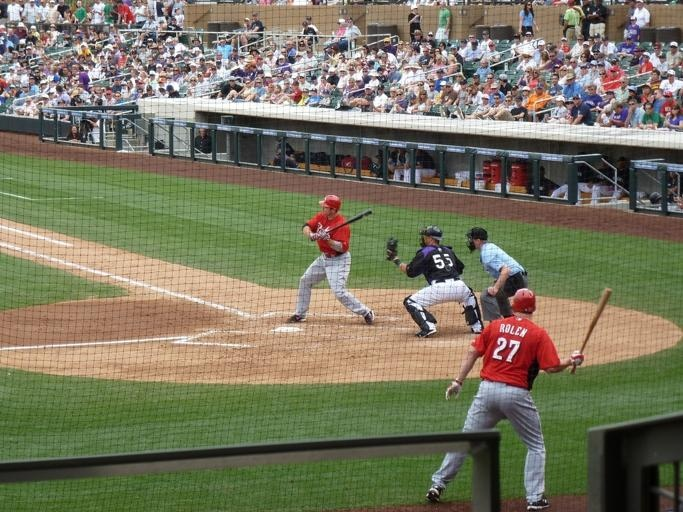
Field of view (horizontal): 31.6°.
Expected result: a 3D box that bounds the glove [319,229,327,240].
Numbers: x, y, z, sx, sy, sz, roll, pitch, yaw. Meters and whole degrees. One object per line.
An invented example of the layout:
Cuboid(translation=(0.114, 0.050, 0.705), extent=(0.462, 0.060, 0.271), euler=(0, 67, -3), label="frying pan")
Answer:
Cuboid(translation=(-0.251, -0.313, 16.986), extent=(0.114, 0.140, 0.056), euler=(-1, 5, -12), label="glove")

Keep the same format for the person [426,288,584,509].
Cuboid(translation=(1.798, 1.502, 12.597), extent=(1.097, 2.312, 0.474), euler=(1, 5, 9), label="person")

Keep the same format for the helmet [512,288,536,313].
Cuboid(translation=(1.912, 0.451, 12.673), extent=(0.213, 0.230, 0.261), euler=(4, 9, 8), label="helmet")

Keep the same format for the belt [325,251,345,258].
Cuboid(translation=(-0.115, -0.034, 17.165), extent=(0.136, 0.075, 0.148), euler=(-1, 8, 3), label="belt")

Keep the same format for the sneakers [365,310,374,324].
Cuboid(translation=(0.402, 0.870, 17.411), extent=(0.099, 0.217, 0.098), euler=(2, 8, 15), label="sneakers")

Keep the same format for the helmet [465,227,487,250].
Cuboid(translation=(1.792, -0.237, 15.990), extent=(0.222, 0.290, 0.439), euler=(0, 4, 0), label="helmet")

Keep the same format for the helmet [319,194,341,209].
Cuboid(translation=(-0.177, -0.742, 17.122), extent=(0.297, 0.143, 0.209), euler=(9, 21, -1), label="helmet")

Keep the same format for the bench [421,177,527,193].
Cuboid(translation=(2.965, -1.493, 25.176), extent=(2.757, 0.353, 0.102), euler=(0, -4, 38), label="bench")

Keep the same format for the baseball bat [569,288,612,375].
Cuboid(translation=(3.375, 1.042, 16.318), extent=(0.163, 1.285, 0.147), euler=(34, -8, -16), label="baseball bat")

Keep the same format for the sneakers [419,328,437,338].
Cuboid(translation=(1.186, 1.048, 16.774), extent=(0.272, 0.107, 0.097), euler=(0, 9, 13), label="sneakers")

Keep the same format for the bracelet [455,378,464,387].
Cuboid(translation=(1.256, 1.335, 12.869), extent=(0.062, 0.034, 0.067), euler=(17, -7, -12), label="bracelet")

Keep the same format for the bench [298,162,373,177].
Cuboid(translation=(-0.140, -2.017, 28.145), extent=(0.529, 0.307, 2.282), euler=(-3, 5, -35), label="bench")

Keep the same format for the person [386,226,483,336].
Cuboid(translation=(1.342, 0.329, 16.925), extent=(1.269, 1.401, 1.045), euler=(-2, 6, -23), label="person")

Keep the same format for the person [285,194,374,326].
Cuboid(translation=(-0.127, 0.053, 17.308), extent=(1.137, 1.839, 0.675), euler=(0, 5, 3), label="person")

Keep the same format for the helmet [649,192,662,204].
Cuboid(translation=(5.797, -1.083, 22.286), extent=(0.206, 0.207, 0.392), euler=(1, 4, 15), label="helmet")

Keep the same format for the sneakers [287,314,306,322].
Cuboid(translation=(-0.649, 0.889, 17.644), extent=(0.276, 0.116, 0.105), euler=(1, 7, 3), label="sneakers")

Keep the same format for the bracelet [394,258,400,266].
Cuboid(translation=(0.763, 0.074, 16.561), extent=(0.085, 0.086, 0.106), euler=(0, 5, 0), label="bracelet")
